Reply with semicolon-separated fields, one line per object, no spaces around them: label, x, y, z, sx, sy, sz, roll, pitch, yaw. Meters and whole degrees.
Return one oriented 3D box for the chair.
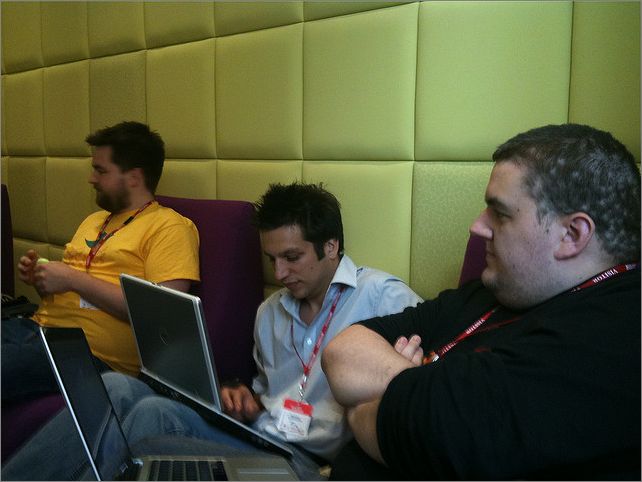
chair;-0.872;0.262;2.161;0.899;0.983;0.686;7;-9;-43

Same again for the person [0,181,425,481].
person;-0.321;0.276;1.741;1.283;0.830;0.701;8;-11;-35
